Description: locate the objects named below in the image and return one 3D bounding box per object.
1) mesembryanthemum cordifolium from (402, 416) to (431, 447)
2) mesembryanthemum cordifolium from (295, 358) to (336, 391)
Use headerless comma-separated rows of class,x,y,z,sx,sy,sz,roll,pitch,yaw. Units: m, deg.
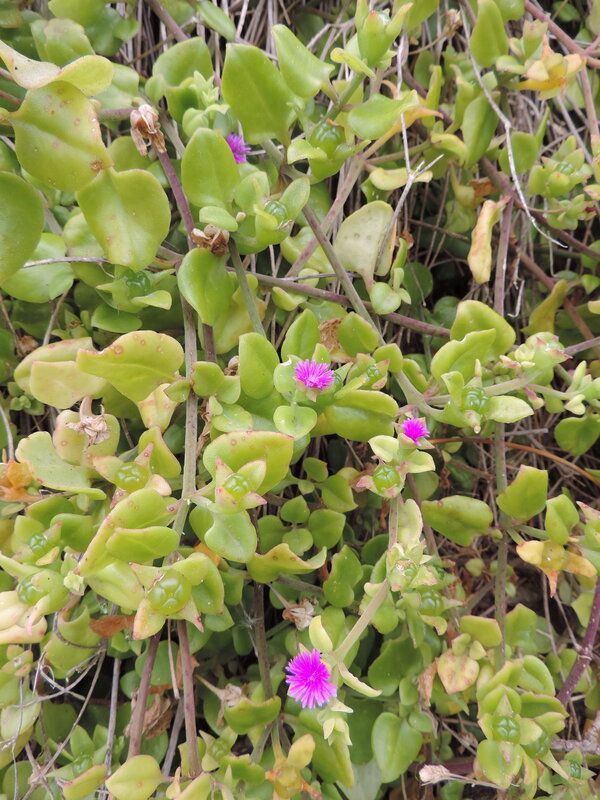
mesembryanthemum cordifolium,0.097,0.026,0.660,0.011,0.024,0.022,-30,75,8
mesembryanthemum cordifolium,0.012,-0.022,0.647,0.035,0.021,0.033,10,67,-3
